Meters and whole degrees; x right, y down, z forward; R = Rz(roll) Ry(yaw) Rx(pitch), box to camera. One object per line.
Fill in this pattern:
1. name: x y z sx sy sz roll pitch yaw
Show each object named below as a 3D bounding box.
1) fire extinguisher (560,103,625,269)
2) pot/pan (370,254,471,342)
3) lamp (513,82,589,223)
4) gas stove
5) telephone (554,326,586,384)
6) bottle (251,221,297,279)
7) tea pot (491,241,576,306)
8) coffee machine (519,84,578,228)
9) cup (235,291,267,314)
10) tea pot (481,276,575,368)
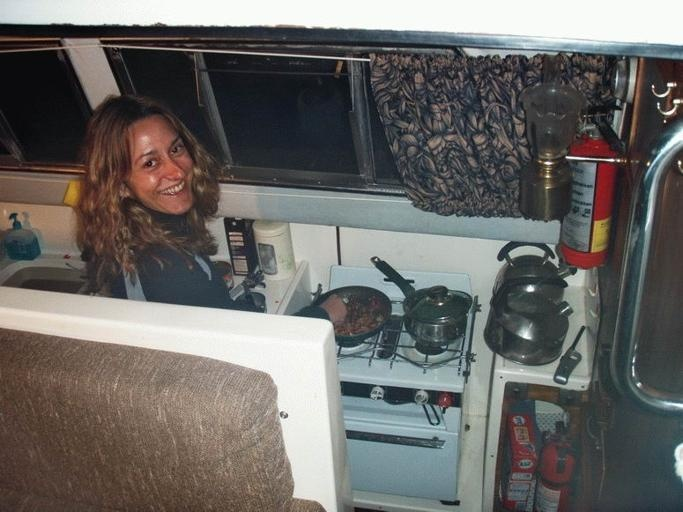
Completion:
1. fire extinguisher: 0.763 -0.166 1.749 0.189 0.540 0.200 2 31 4
2. pot/pan: 0.289 0.174 2.305 0.258 0.208 0.489 -26 36 -32
3. lamp: 0.504 -0.236 1.442 0.177 0.348 0.163 7 33 18
4. gas stove: 0.228 0.377 2.400 0.593 0.296 0.655 6 30 8
5. telephone: 0.849 0.342 2.088 0.061 0.063 0.329 17 42 32
6. bottle: -0.304 -0.031 2.587 0.173 0.258 0.156 0 32 10
7. tea pot: 0.727 0.065 2.193 0.291 0.273 0.268 -6 6 1
8. coffee machine: 0.524 -0.267 1.464 0.180 0.360 0.179 -8 46 3
9. cup: -0.364 0.185 2.339 0.133 0.053 0.094 10 14 43
10. tea pot: 0.671 0.220 2.056 0.290 0.310 0.191 -5 35 5
